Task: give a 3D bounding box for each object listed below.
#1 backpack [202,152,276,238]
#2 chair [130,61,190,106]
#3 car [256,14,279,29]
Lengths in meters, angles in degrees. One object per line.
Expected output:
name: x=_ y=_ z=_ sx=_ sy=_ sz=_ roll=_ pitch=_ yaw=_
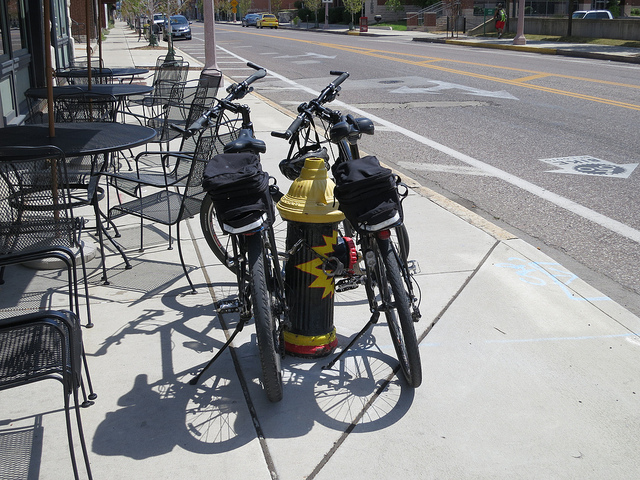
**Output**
backpack: x=-0.460 y=-0.251 z=2.847 sx=0.376 sy=0.435 sz=0.418 roll=-2 pitch=20 yaw=-6
chair: x=-3.178 y=-2.993 z=9.432 sx=1.394 sy=0.794 sz=0.947 roll=-16 pitch=28 yaw=-41
car: x=-7.224 y=-29.842 z=68.672 sx=2.001 sy=2.025 sz=3.227 roll=-7 pitch=20 yaw=-20
